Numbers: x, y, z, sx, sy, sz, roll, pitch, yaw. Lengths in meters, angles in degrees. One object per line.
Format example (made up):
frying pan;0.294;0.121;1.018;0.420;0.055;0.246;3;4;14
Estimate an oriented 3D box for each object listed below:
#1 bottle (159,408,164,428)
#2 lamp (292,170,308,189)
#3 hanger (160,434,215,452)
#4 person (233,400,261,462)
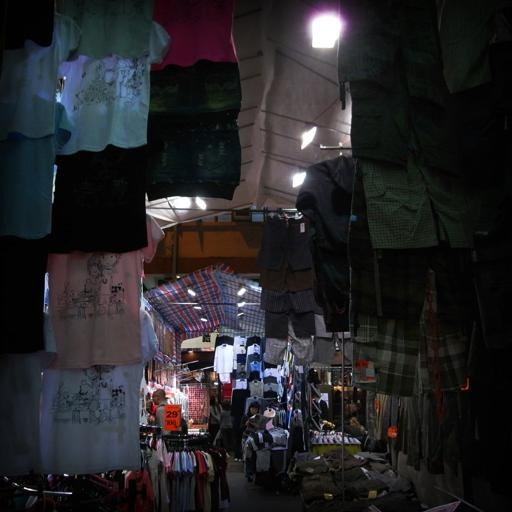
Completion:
bottle;-1.237;2.074;7.680;0.071;0.232;0.491;3;-11;-9
lamp;0.469;-0.862;6.615;0.120;0.138;0.502;2;-12;-4
hanger;-0.599;1.623;5.145;0.211;0.131;0.593;-9;-16;42
person;-0.140;2.844;9.652;0.441;1.305;0.372;0;23;-1
